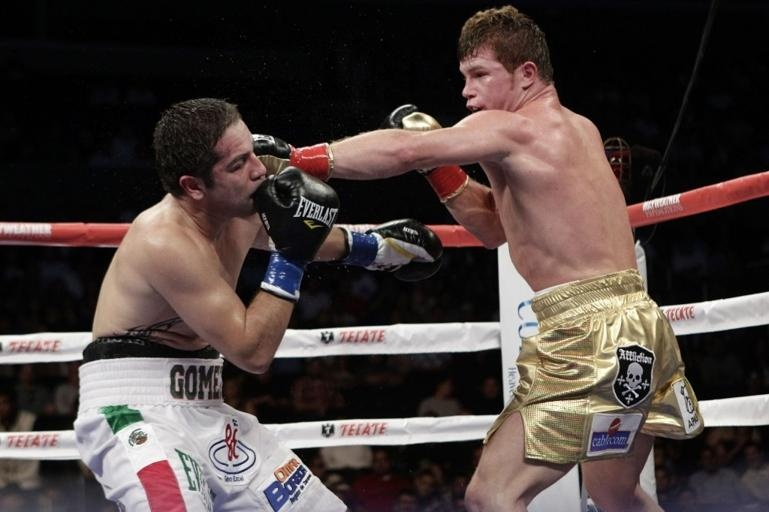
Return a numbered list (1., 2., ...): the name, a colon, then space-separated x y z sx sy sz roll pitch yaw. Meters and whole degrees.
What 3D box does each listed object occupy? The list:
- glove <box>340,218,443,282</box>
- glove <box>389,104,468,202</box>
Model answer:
1. glove: 0.046 -0.027 5.501 0.566 0.370 0.230 -4 -36 -23
2. glove: 0.246 -0.671 5.516 0.651 0.483 0.225 32 -6 -9
